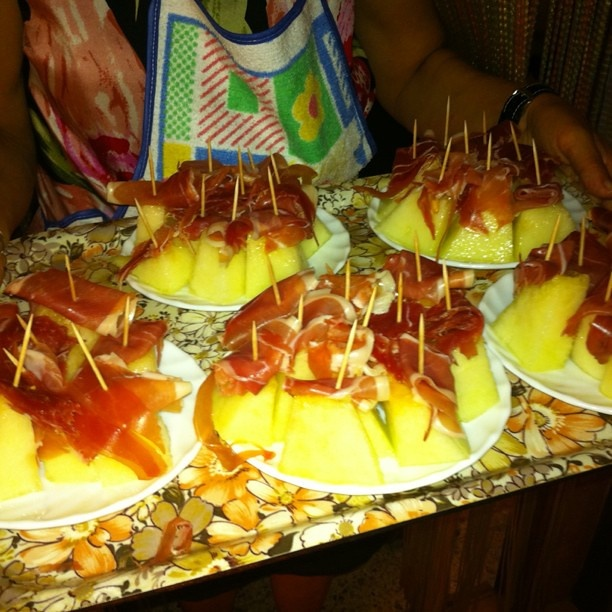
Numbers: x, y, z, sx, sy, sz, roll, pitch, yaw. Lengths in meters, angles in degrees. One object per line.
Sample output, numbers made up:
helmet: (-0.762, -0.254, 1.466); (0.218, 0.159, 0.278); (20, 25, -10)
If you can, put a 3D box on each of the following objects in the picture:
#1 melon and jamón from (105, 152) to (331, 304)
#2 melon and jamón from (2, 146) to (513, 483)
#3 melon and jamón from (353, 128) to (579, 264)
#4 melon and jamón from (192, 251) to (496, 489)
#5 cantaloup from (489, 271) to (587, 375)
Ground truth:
melon and jamón: (-0.223, -0.259, 1.371); (0.509, 0.145, 0.415); (-14, 38, -17)
melon and jamón: (-0.072, 0.018, 1.190); (0.787, 0.187, 0.576); (2, 34, -1)
melon and jamón: (0.394, -0.246, 1.545); (0.558, 0.159, 0.412); (0, 41, 1)
melon and jamón: (0.087, 0.134, 1.108); (0.543, 0.141, 0.387); (-2, 42, 1)
cantaloup: (0.458, 0.025, 1.197); (0.170, 0.067, 0.209); (14, 59, 29)
